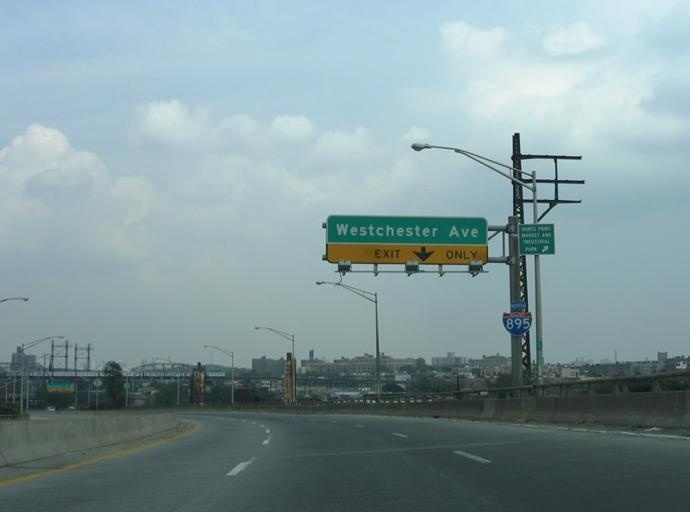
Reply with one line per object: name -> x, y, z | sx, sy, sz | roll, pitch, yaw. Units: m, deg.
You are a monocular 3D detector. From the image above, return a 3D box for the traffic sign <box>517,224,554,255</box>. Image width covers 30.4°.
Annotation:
traffic sign -> 7.773, -0.594, 51.510 | 1.662, 1.711, 0.184 | -1, 0, 21
